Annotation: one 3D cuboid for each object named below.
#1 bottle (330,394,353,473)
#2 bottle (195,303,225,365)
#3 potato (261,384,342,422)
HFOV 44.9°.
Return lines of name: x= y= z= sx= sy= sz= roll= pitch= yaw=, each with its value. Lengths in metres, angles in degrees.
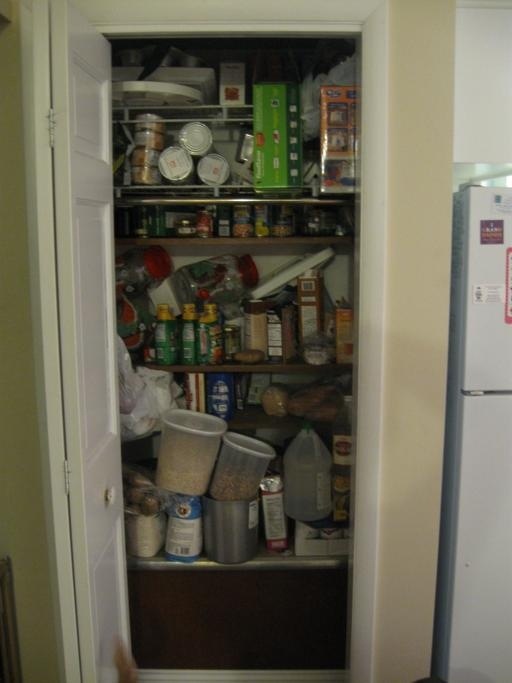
bottle: x=0.291 y=0.305 z=2.103 sx=0.081 sy=0.227 sz=0.108 roll=3 pitch=14 yaw=2
bottle: x=-0.168 y=-0.019 z=2.204 sx=0.117 sy=0.314 sz=0.167 roll=-1 pitch=11 yaw=0
potato: x=0.191 y=0.198 z=2.241 sx=0.227 sy=0.126 sz=0.267 roll=-5 pitch=14 yaw=-27
